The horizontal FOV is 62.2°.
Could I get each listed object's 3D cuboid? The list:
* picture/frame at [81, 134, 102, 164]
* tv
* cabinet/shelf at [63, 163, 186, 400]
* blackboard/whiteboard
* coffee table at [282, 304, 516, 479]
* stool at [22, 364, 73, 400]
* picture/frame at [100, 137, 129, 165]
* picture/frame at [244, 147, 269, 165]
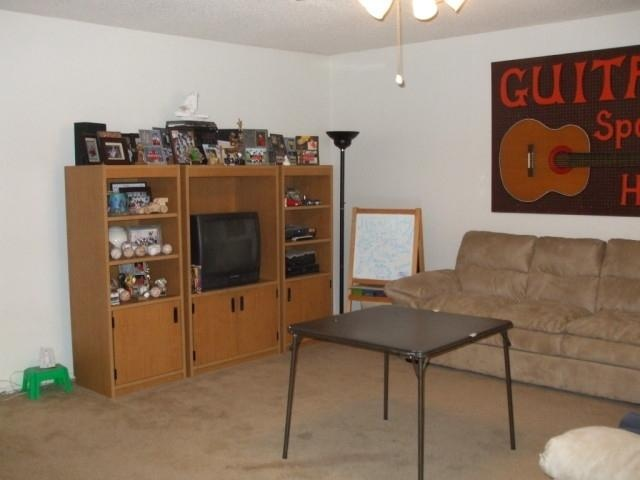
[{"bbox_3d":[-1.906,-0.747,4.438,0.116,0.219,0.081,-8,11,-39],"label":"picture/frame"},{"bbox_3d":[-0.910,0.112,5.011,0.401,0.696,0.723,0,3,42],"label":"tv"},{"bbox_3d":[-1.657,0.299,4.600,0.985,1.877,0.686,-5,10,-26],"label":"cabinet/shelf"},{"bbox_3d":[0.728,0.079,5.704,0.777,0.941,0.483,-2,-5,26],"label":"blackboard/whiteboard"},{"bbox_3d":[0.508,0.936,3.400,1.180,0.885,1.114,6,11,40],"label":"coffee table"},{"bbox_3d":[-2.294,1.212,4.445,0.327,0.187,0.256,-7,-10,33],"label":"stool"},{"bbox_3d":[-1.735,-0.742,4.448,0.020,0.260,0.257,-13,-4,40],"label":"picture/frame"},{"bbox_3d":[-0.650,-0.844,5.328,0.189,0.136,0.018,-3,-3,-37],"label":"picture/frame"}]
